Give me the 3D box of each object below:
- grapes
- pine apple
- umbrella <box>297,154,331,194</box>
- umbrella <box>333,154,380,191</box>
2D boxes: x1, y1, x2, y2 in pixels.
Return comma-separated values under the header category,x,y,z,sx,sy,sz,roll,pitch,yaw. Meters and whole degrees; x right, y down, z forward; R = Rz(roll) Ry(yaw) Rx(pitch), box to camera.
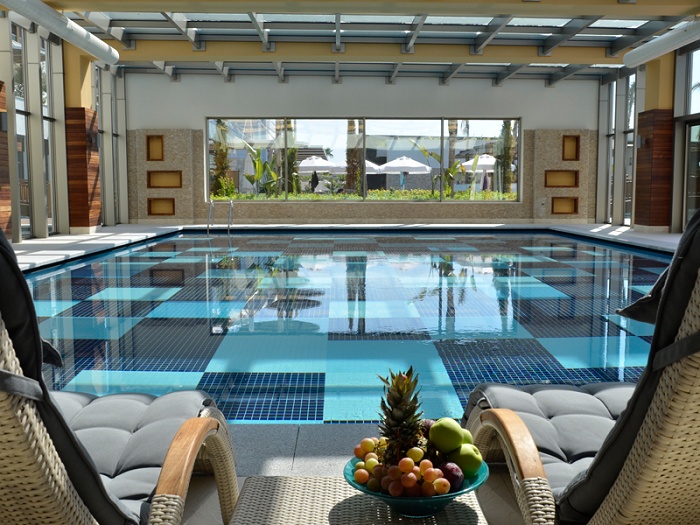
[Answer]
category,x,y,z,sx,sy,sz,roll,pitch,yaw
grapes,0.131,0.535,1.261,0.142,0.067,0.186,20,-23,-38
pine apple,0.138,0.427,1.270,0.127,0.247,0.119,3,-4,-27
umbrella,-1.283,-3.088,16.759,1.225,1.339,1.040,0,7,-5
umbrella,0.350,-3.080,16.438,1.506,0.535,1.365,-1,-15,4
